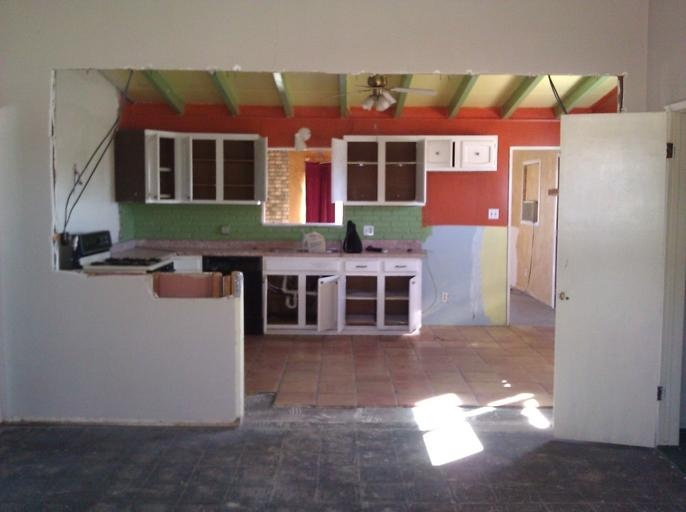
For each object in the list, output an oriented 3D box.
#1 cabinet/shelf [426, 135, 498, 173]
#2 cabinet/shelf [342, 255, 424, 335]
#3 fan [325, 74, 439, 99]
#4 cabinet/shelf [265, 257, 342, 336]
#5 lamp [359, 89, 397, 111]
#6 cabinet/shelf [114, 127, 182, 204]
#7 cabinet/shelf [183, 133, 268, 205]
[{"bbox_3d":[1.466,-1.273,7.173,0.857,0.416,0.103,2,12,5],"label":"cabinet/shelf"},{"bbox_3d":[0.502,0.477,7.375,1.133,1.107,0.886,0,1,0],"label":"cabinet/shelf"},{"bbox_3d":[0.423,-1.858,6.345,0.906,0.245,1.300,-1,13,-6],"label":"fan"},{"bbox_3d":[-0.456,0.422,7.379,1.121,1.109,0.828,0,2,-2],"label":"cabinet/shelf"},{"bbox_3d":[0.377,-1.645,6.150,0.370,0.169,0.381,-4,9,-5],"label":"lamp"},{"bbox_3d":[-2.311,-1.081,7.004,0.840,0.855,0.466,-6,14,-30],"label":"cabinet/shelf"},{"bbox_3d":[-1.487,-1.089,7.348,1.365,1.181,0.716,0,5,-4],"label":"cabinet/shelf"}]
